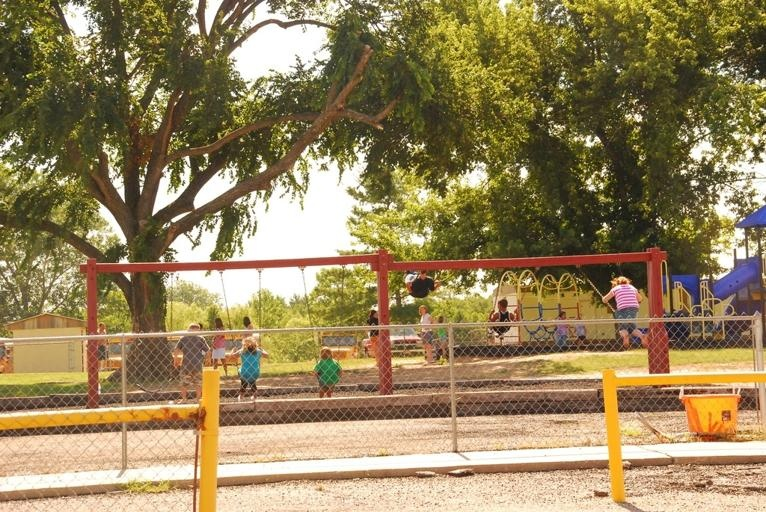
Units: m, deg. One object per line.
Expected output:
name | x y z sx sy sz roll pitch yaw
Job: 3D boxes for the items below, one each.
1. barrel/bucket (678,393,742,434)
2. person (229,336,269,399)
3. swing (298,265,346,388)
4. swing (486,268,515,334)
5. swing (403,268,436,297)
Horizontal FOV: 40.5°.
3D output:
barrel/bucket | 9.505 4.643 30.274 1.506 1.209 0.586 -4 -8 14
person | -4.478 3.679 34.993 1.003 2.291 1.488 1 -1 -15
swing | -2.764 3.395 49.966 1.222 4.528 1.378 1 0 14
swing | 4.786 2.226 43.417 0.852 2.787 1.075 7 4 -28
swing | 1.498 1.050 42.269 1.220 1.001 2.321 1 1 -5
